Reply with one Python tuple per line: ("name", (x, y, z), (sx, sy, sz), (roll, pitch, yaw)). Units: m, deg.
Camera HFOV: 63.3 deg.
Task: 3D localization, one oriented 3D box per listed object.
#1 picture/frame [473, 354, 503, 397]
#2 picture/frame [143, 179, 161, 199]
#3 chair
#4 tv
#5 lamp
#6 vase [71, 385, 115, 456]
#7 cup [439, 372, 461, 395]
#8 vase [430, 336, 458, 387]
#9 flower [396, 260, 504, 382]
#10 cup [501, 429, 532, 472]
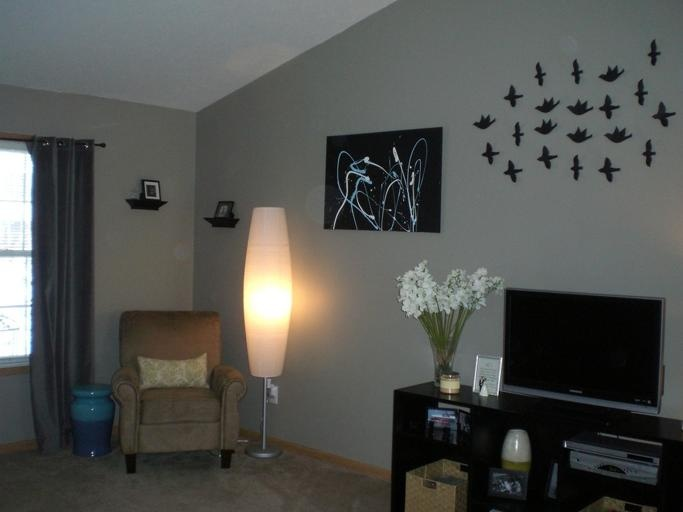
("picture/frame", (0.961, 0.790, 3.615), (0.240, 0.338, 0.022), (-1, -14, 40))
("picture/frame", (-1.808, -0.637, 5.305), (0.193, 0.197, 0.168), (-1, 5, -31))
("chair", (-1.373, 1.104, 4.679), (1.157, 1.258, 1.294), (1, -5, -4))
("tv", (1.466, 0.580, 3.290), (0.695, 0.536, 0.190), (5, 4, 31))
("lamp", (-0.614, 0.301, 4.614), (0.373, 1.400, 0.228), (0, 4, -11))
("vase", (-2.094, 1.378, 4.660), (0.340, 0.549, 0.352), (-2, -4, 0))
("cup", (0.706, 0.833, 3.595), (0.120, 0.112, 0.126), (0, 0, 0))
("vase", (0.701, 0.719, 3.731), (0.207, 0.337, 0.211), (6, -9, -28))
("flower", (0.670, 0.542, 3.748), (0.556, 0.733, 0.543), (7, 17, 30))
("cup", (1.124, 1.262, 3.494), (0.174, 0.266, 0.168), (-1, -6, 0))
